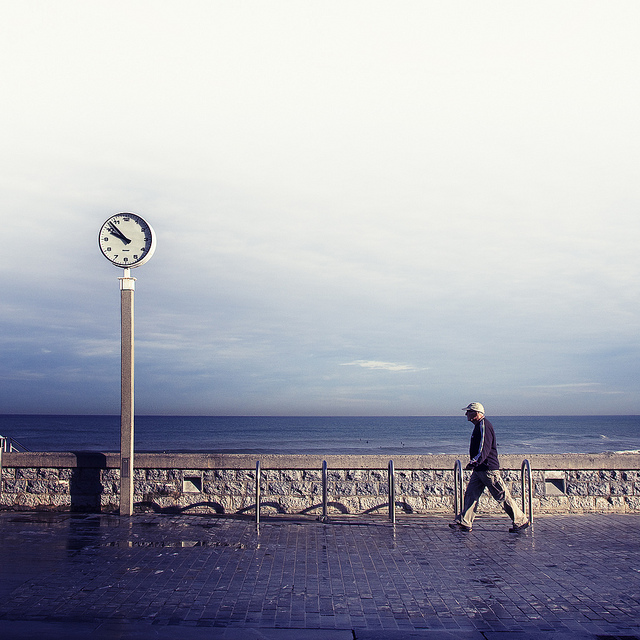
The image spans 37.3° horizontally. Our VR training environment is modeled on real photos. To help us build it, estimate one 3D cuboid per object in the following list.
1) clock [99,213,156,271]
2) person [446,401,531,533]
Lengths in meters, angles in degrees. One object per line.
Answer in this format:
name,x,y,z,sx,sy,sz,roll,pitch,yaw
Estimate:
clock,-2.831,-1.127,13.743,0.808,0.776,0.183,0,0,3
person,2.224,1.947,12.635,1.034,1.734,0.407,0,0,7
